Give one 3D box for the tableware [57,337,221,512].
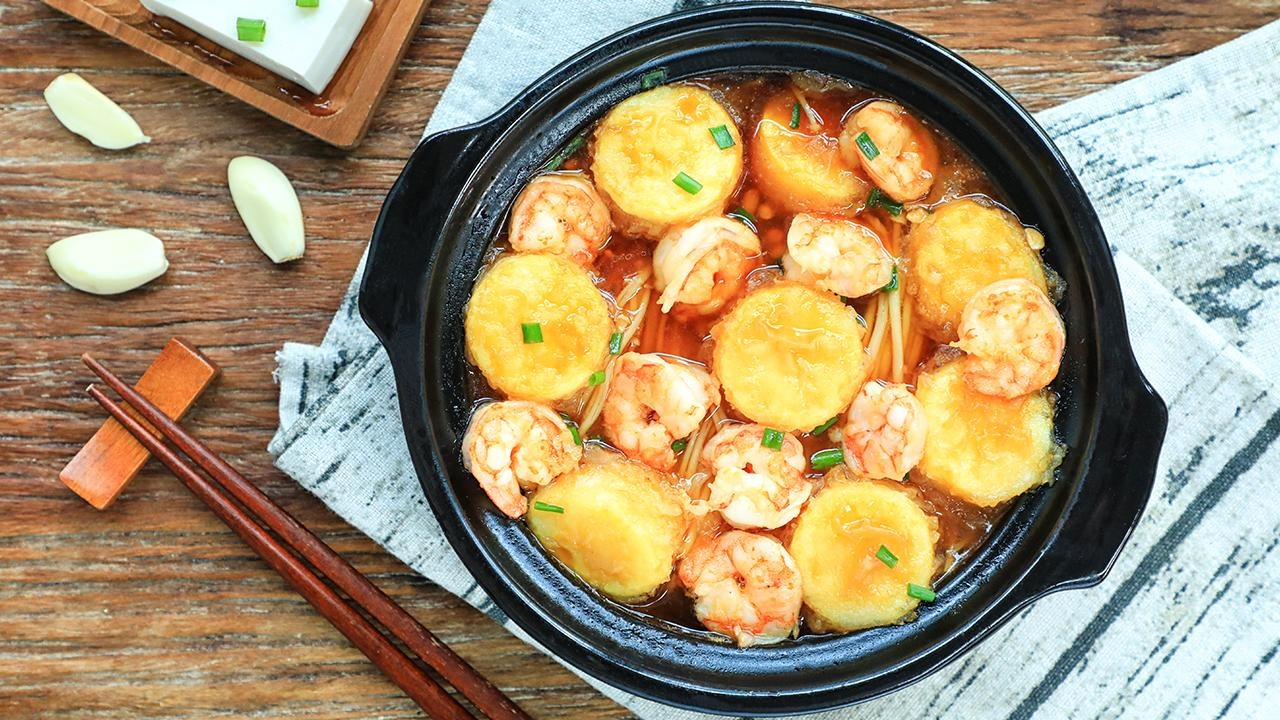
[{"bbox_3d":[-2.832,0.342,6.378,0.958,0.879,0.585,3,2,44],"label":"tableware"}]
